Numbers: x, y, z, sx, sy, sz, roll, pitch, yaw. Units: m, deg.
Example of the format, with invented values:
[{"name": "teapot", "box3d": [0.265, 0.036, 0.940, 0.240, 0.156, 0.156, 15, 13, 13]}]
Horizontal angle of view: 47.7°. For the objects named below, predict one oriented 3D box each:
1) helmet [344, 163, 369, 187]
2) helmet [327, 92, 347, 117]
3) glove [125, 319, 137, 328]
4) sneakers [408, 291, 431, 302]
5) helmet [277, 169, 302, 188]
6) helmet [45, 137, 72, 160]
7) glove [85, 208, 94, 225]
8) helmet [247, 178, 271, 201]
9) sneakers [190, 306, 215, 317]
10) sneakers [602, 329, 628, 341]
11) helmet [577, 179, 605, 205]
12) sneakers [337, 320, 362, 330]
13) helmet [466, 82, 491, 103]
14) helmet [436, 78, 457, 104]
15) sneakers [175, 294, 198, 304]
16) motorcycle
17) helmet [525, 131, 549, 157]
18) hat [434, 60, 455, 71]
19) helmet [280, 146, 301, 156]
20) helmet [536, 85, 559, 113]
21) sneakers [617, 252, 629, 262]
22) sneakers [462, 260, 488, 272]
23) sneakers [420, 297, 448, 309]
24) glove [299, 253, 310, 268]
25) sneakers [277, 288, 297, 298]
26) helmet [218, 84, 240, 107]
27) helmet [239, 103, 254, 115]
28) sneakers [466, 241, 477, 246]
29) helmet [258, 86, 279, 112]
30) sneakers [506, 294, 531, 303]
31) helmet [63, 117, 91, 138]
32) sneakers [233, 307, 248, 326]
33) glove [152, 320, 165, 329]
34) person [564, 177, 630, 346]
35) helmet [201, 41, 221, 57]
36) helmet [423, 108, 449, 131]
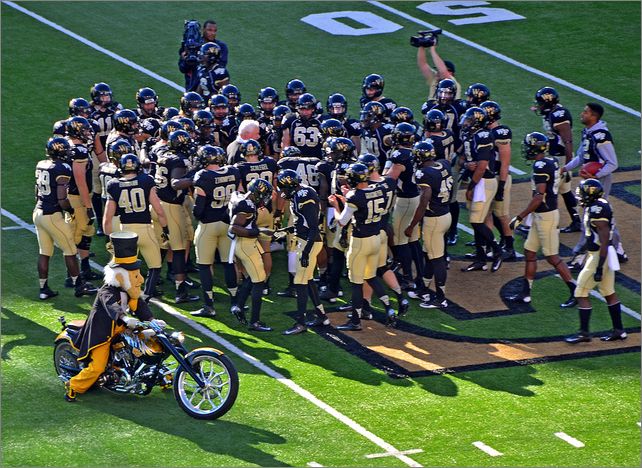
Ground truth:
[{"name": "helmet", "box3d": [0.522, -0.862, 10.453, 0.338, 0.358, 0.184, 4, 13, 1]}, {"name": "helmet", "box3d": [0.262, -2.218, 12.333, 0.447, 0.312, 0.439, -1, 18, -1]}, {"name": "glove", "box3d": [-2.195, 1.040, 8.410, 0.142, 0.148, 0.124, 1, 12, -12]}, {"name": "sneakers", "box3d": [1.574, 0.997, 11.604, 0.389, 0.122, 0.130, 10, 8, 27]}, {"name": "helmet", "box3d": [-0.473, -0.807, 10.454, 0.326, 0.247, 0.184, 4, 12, 3]}, {"name": "helmet", "box3d": [-3.979, -1.324, 10.948, 0.468, 0.315, 0.359, -8, 21, -38]}, {"name": "glove", "box3d": [-3.562, -0.294, 11.235, 0.099, 0.184, 0.165, -15, 11, -2]}, {"name": "helmet", "box3d": [-0.889, -0.629, 10.471, 0.342, 0.350, 0.214, 2, 13, -7]}, {"name": "sneakers", "box3d": [-1.763, 1.168, 10.947, 0.478, 0.141, 0.132, 3, 4, 9]}, {"name": "sneakers", "box3d": [4.194, 1.489, 10.560, 0.481, 0.131, 0.130, 0, 2, 6]}, {"name": "helmet", "box3d": [3.888, -0.616, 10.489, 0.544, 0.346, 0.360, -3, 17, 19]}, {"name": "sneakers", "box3d": [0.421, 1.367, 10.719, 0.439, 0.110, 0.124, 1, -7, 6]}, {"name": "helmet", "box3d": [2.771, -2.546, 12.980, 0.591, 0.337, 0.337, -2, 25, 6]}, {"name": "helmet", "box3d": [2.250, -2.599, 13.074, 0.463, 0.358, 0.490, 3, 23, 8]}, {"name": "sneakers", "box3d": [-2.094, 1.012, 11.311, 0.407, 0.111, 0.124, -3, 9, -21]}, {"name": "motorcycle", "box3d": [-2.037, 1.620, 8.839, 2.414, 1.307, 0.725, 5, 13, 12]}, {"name": "helmet", "box3d": [3.484, -1.468, 11.822, 0.623, 0.398, 0.428, 1, 14, 11]}, {"name": "hat", "box3d": [2.555, -3.443, 14.757, 0.400, 0.167, 0.207, 25, 29, 0]}, {"name": "helmet", "box3d": [-0.507, -1.334, 11.496, 0.259, 0.142, 0.197, 16, 29, 38]}, {"name": "helmet", "box3d": [4.123, -2.490, 13.428, 0.372, 0.491, 0.396, -6, 16, -38]}, {"name": "sneakers", "box3d": [5.059, 0.385, 12.239, 0.181, 0.106, 0.195, 51, 35, 18]}, {"name": "sneakers", "box3d": [2.672, 0.565, 12.518, 0.576, 0.140, 0.155, 1, 0, -5]}, {"name": "sneakers", "box3d": [1.771, 1.109, 11.390, 0.501, 0.126, 0.146, 0, -1, 4]}, {"name": "glove", "box3d": [-0.240, 0.372, 10.388, 0.120, 0.216, 0.055, 2, 14, -9]}, {"name": "sneakers", "box3d": [-0.605, 0.942, 11.680, 0.422, 0.116, 0.132, 1, -4, 22]}, {"name": "helmet", "box3d": [-1.628, -2.511, 13.014, 0.426, 0.324, 0.478, -16, 11, -23]}, {"name": "helmet", "box3d": [-1.293, -2.195, 12.633, 0.289, 0.185, 0.228, 23, 29, 38]}, {"name": "sneakers", "box3d": [2.759, 0.168, 13.383, 0.204, 0.059, 0.066, 9, -14, -28]}, {"name": "helmet", "box3d": [-0.959, -2.460, 12.931, 0.475, 0.336, 0.454, 0, 23, -5]}, {"name": "sneakers", "box3d": [3.167, 1.034, 11.633, 0.451, 0.114, 0.132, 3, 2, 8]}, {"name": "helmet", "box3d": [-3.794, -1.679, 11.343, 0.496, 0.316, 0.338, -2, 17, -35]}, {"name": "sneakers", "box3d": [-1.211, 1.229, 10.786, 0.141, 0.106, 0.306, -32, 76, -40]}, {"name": "glove", "box3d": [-1.947, 1.060, 8.608, 0.200, 0.079, 0.072, 24, -18, 49]}, {"name": "person", "box3d": [4.086, 0.406, 10.503, 1.000, 2.390, 0.713, 6, 14, 8]}, {"name": "helmet", "box3d": [-2.139, -3.696, 14.412, 0.455, 0.263, 0.299, 8, 17, 17]}, {"name": "helmet", "box3d": [1.861, -1.883, 11.879, 0.407, 0.282, 0.405, -1, 23, -4]}]
